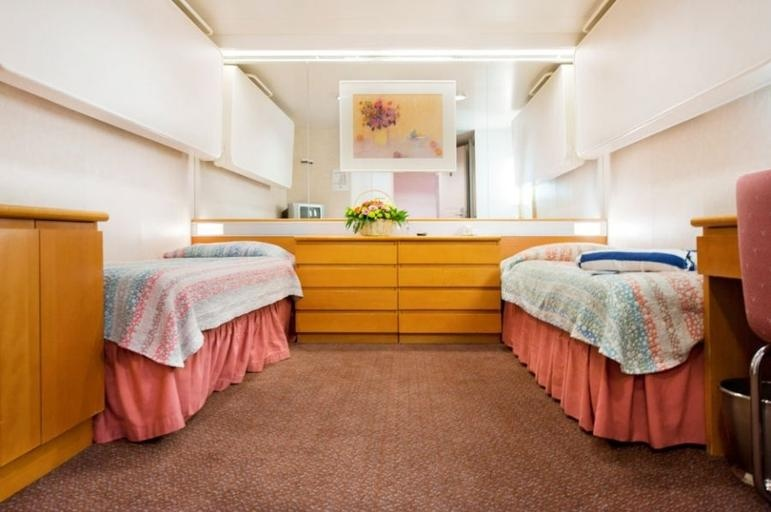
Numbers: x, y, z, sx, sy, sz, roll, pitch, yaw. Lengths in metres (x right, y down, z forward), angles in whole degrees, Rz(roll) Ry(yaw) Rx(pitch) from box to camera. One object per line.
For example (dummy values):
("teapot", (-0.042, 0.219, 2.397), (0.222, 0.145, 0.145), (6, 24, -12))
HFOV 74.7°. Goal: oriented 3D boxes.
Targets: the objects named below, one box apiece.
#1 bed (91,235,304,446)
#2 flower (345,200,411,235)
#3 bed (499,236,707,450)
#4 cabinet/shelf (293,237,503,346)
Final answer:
("bed", (-1.494, 0.436, 3.939), (1.232, 0.884, 1.877), (3, 6, 10))
("flower", (-0.072, -0.346, 4.644), (0.415, 0.230, 0.413), (0, -1, -35))
("bed", (1.670, 0.445, 3.893), (1.354, 0.941, 2.015), (-5, 10, -11))
("cabinet/shelf", (0.123, 0.302, 4.690), (1.811, 0.930, 0.586), (0, 1, 3))
